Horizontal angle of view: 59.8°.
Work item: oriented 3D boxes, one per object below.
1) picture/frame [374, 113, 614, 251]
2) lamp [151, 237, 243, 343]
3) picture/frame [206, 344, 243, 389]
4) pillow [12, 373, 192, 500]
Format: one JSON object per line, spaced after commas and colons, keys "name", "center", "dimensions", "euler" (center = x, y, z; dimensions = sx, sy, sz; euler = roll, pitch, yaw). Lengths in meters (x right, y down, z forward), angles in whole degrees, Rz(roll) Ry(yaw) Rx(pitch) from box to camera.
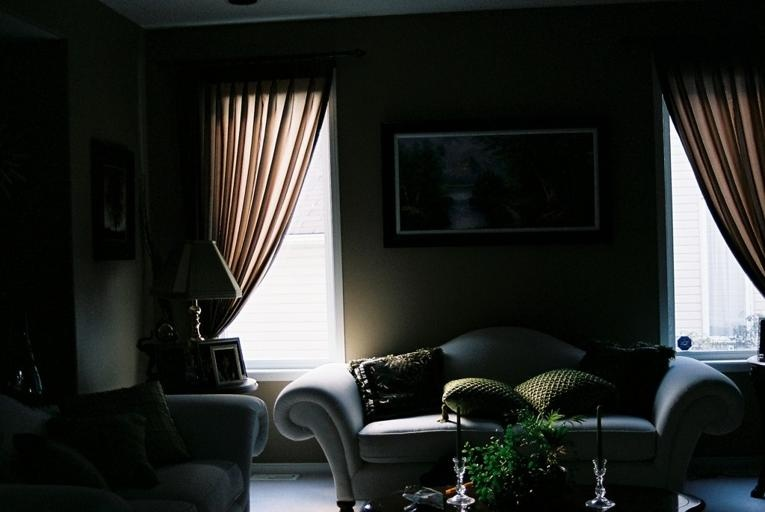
{"name": "picture/frame", "center": [0.885, -0.571, 5.172], "dimensions": [1.752, 0.991, 0.043], "euler": [-1, -6, 3]}
{"name": "lamp", "center": [-1.368, 0.249, 4.960], "dimensions": [0.741, 0.981, 0.690], "euler": [0, -3, -21]}
{"name": "picture/frame", "center": [-1.140, 0.799, 4.741], "dimensions": [0.302, 0.378, 0.038], "euler": [-5, -18, -38]}
{"name": "pillow", "center": [-1.548, 1.029, 3.681], "dimensions": [0.645, 0.188, 0.591], "euler": [2, 30, -24]}
